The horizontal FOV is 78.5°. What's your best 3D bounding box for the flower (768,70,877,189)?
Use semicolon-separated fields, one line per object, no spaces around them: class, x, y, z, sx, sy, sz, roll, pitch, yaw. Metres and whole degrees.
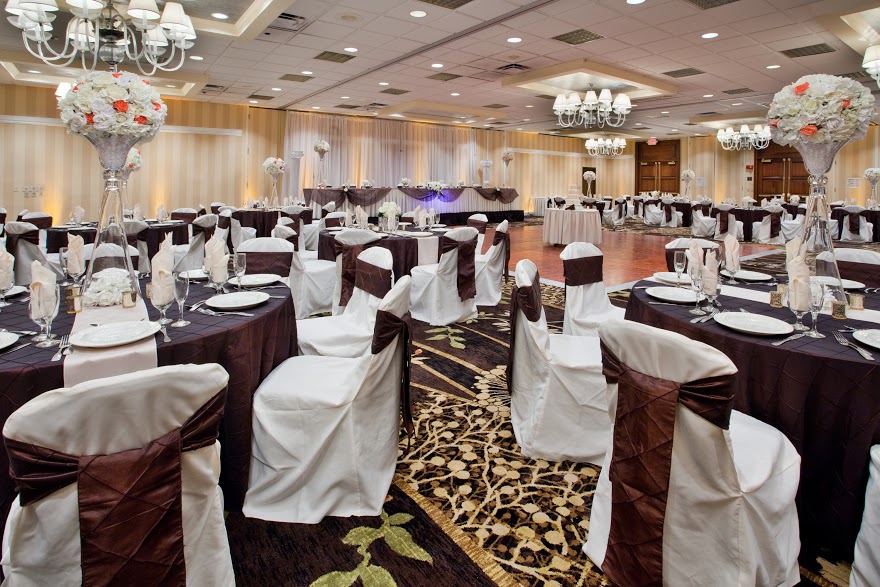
flower;2.040;-0.842;3.056;0.577;0.628;0.573;0;14;29

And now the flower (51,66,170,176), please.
flower;-1.831;-0.946;3.030;0.496;0.543;0.524;11;15;36

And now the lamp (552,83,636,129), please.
lamp;3.345;-3.917;12.017;1.134;0.564;1.109;7;-2;-42

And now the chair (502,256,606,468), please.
chair;0.847;0.400;3.715;0.842;1.176;0.930;-6;14;-30

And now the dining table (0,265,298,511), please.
dining table;-1.538;0.345;2.900;1.194;0.659;1.235;4;10;21

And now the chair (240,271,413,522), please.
chair;-0.691;0.523;3.324;1.035;1.354;1.120;-4;15;-22
